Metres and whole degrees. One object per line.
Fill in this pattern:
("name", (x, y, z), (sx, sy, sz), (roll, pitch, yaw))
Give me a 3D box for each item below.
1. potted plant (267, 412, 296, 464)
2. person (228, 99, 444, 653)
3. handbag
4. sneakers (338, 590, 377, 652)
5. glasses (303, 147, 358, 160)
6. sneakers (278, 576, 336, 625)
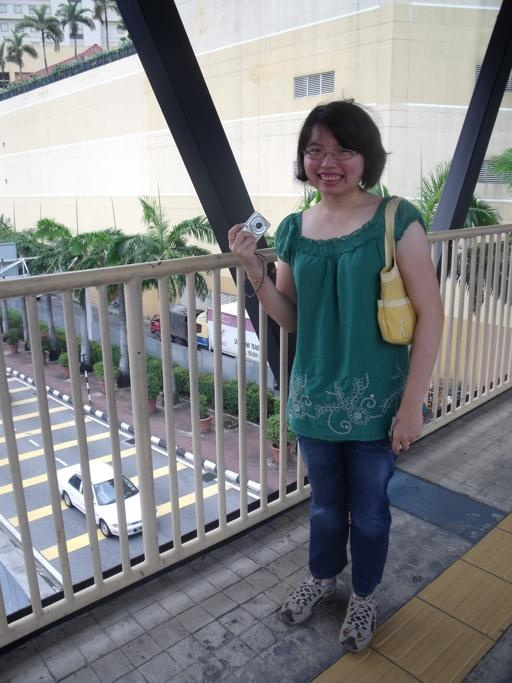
("potted plant", (0.170, 0.709, 3.796), (0.224, 0.345, 0.235), (-9, -7, 32))
("person", (0.207, 0.110, 1.350), (0.511, 1.356, 0.234), (6, 14, 32))
("handbag", (0.307, -0.151, 1.165), (0.075, 0.322, 0.085), (9, 15, 40))
("sneakers", (0.267, 0.730, 1.379), (0.057, 0.070, 0.164), (-2, 9, 18))
("glasses", (0.166, -0.417, 1.181), (0.112, 0.035, 0.030), (2, 12, 15))
("sneakers", (0.143, 0.728, 1.539), (0.071, 0.088, 0.189), (11, 12, 42))
